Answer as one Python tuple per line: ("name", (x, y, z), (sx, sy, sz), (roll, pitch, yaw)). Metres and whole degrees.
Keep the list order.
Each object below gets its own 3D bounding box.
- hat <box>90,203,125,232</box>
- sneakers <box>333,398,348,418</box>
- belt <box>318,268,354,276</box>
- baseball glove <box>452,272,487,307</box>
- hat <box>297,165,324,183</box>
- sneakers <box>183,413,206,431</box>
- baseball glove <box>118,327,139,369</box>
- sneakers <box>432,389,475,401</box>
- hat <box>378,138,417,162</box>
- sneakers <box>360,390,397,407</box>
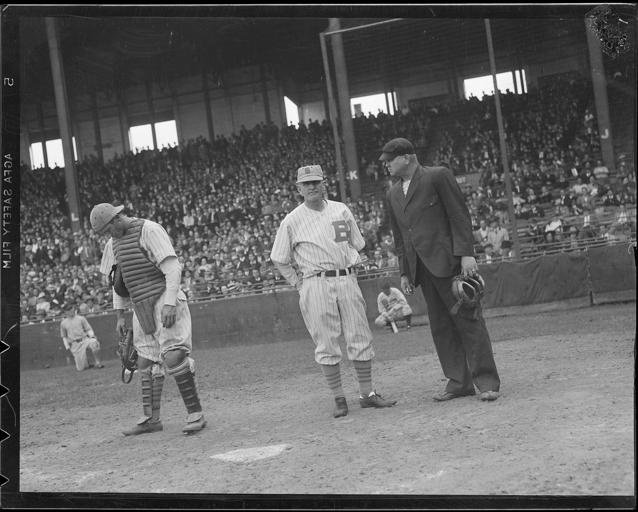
("hat", (-1.601, -0.295, 5.173), (0.233, 0.142, 0.164), (-41, 30, -16))
("sneakers", (0.157, 1.106, 5.041), (0.124, 0.104, 0.116), (-10, 4, -4))
("belt", (0.132, 0.126, 5.141), (0.273, 0.049, 0.062), (-12, 5, -22))
("baseball glove", (1.087, 0.238, 5.002), (0.172, 0.232, 0.248), (11, 5, 7))
("hat", (-0.067, -0.618, 5.194), (0.221, 0.114, 0.339), (-4, 2, 1))
("sneakers", (-0.926, 1.220, 5.079), (0.162, 0.126, 0.150), (-10, 4, -5))
("baseball glove", (-1.517, 0.749, 5.493), (0.084, 0.299, 0.295), (1, -13, -12))
("sneakers", (1.000, 1.039, 5.164), (0.319, 0.147, 0.117), (-1, -11, 0))
("hat", (0.585, -0.800, 5.214), (0.215, 0.129, 0.167), (-3, 12, 0))
("sneakers", (0.434, 1.064, 5.115), (0.283, 0.140, 0.109), (-1, -3, 3))
